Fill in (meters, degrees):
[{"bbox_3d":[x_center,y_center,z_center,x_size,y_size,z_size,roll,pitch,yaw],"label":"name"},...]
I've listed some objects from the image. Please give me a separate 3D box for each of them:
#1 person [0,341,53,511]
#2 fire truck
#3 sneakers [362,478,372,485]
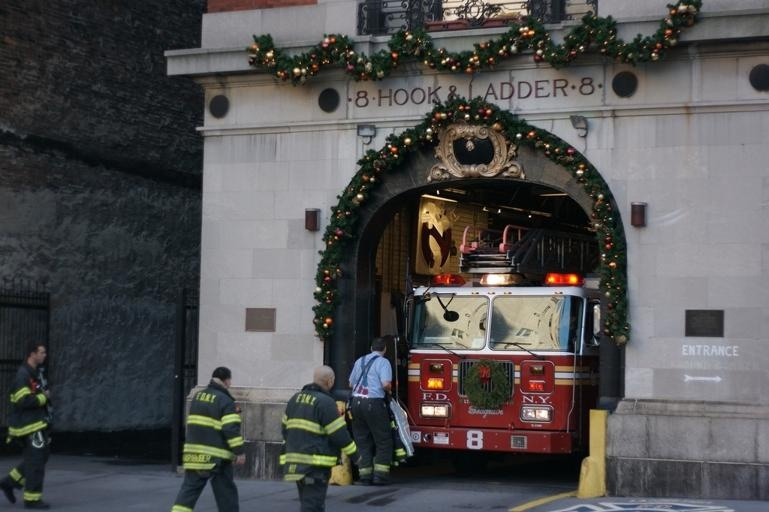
[{"bbox_3d":[-6.355,3.083,28.155,0.748,3.000,0.746,5,-8,-27],"label":"person"},{"bbox_3d":[2.114,1.820,30.061,2.700,3.298,5.420,-2,-9,23],"label":"fire truck"},{"bbox_3d":[-0.374,4.323,29.611,0.136,0.098,0.135,0,-4,7],"label":"sneakers"}]
